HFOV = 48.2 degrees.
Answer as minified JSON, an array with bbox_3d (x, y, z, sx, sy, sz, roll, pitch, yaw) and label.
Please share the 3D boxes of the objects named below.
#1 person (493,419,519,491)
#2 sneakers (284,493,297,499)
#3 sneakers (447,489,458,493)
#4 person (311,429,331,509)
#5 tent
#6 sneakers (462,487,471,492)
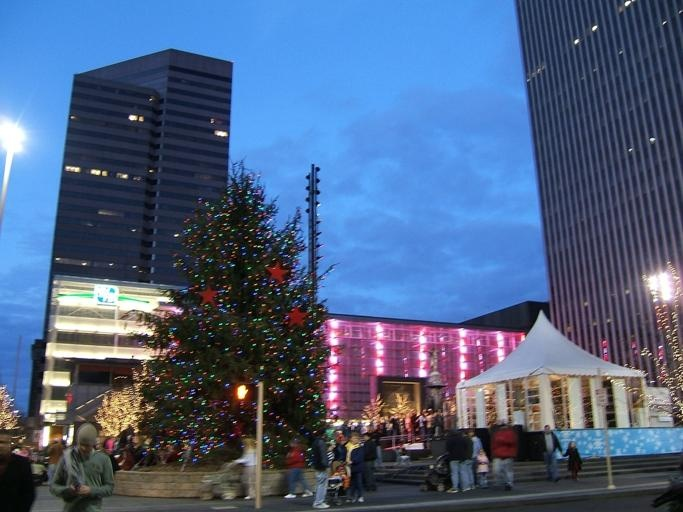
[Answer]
[{"bbox_3d":[6.367,7.762,29.775,0.969,2.691,1.302,-6,-22,7],"label":"person"},{"bbox_3d":[-1.982,9.171,29.133,0.607,0.176,0.209,-4,-20,19],"label":"sneakers"},{"bbox_3d":[4.409,9.349,30.311,0.448,0.138,0.169,2,-19,8],"label":"sneakers"},{"bbox_3d":[-0.776,7.792,27.518,0.665,2.508,0.477,-6,-23,5],"label":"person"},{"bbox_3d":[10.441,5.767,40.383,8.620,5.448,8.384,-13,-26,35],"label":"tent"},{"bbox_3d":[4.916,9.321,30.430,0.454,0.136,0.126,-6,-9,10],"label":"sneakers"}]
